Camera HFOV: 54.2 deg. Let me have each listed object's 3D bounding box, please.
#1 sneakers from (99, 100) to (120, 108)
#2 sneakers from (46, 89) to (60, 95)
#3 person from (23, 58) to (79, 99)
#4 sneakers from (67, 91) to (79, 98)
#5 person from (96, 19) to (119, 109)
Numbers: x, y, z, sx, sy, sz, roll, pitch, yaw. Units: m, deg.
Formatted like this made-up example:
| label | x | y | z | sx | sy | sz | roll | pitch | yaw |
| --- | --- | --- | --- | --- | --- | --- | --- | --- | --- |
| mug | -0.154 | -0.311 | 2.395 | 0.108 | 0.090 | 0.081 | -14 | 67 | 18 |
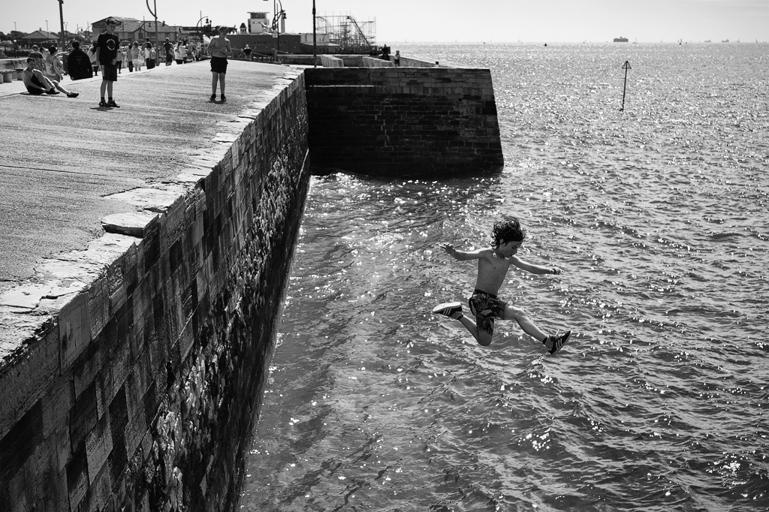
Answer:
| label | x | y | z | sx | sy | sz | roll | pitch | yaw |
| --- | --- | --- | --- | --- | --- | --- | --- | --- | --- |
| sneakers | -4.939 | -2.700 | 13.408 | 0.456 | 0.174 | 0.158 | -4 | 18 | -25 |
| sneakers | -6.590 | -3.261 | 14.892 | 0.179 | 0.089 | 0.257 | 6 | 15 | 27 |
| person | -6.678 | -3.494 | 14.771 | 1.394 | 0.695 | 0.846 | 22 | 28 | 37 |
| sneakers | -6.058 | -3.129 | 14.593 | 0.228 | 0.083 | 0.164 | -8 | -6 | 38 |
| person | -5.154 | -3.536 | 13.926 | 0.396 | 1.473 | 1.972 | -5 | 24 | -19 |
